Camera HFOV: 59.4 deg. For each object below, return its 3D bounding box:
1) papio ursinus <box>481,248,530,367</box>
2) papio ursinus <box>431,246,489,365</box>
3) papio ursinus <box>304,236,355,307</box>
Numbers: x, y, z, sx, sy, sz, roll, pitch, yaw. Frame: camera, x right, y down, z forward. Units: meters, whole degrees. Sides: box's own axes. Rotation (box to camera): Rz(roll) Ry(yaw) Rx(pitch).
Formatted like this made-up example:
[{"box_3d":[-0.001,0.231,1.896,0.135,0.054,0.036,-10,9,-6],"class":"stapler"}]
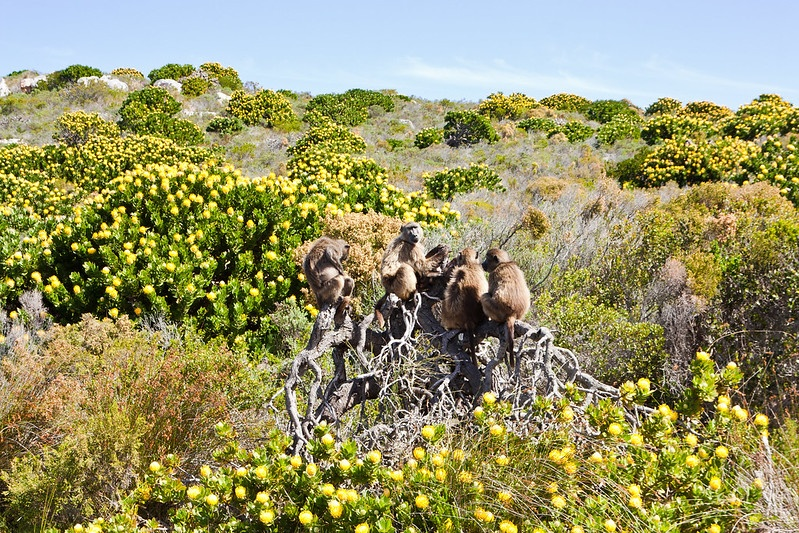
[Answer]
[{"box_3d":[1.078,0.498,7.176,0.405,1.341,0.417,-1,-9,-1],"class":"papio ursinus"},{"box_3d":[0.667,0.406,7.329,0.366,1.390,0.465,-1,-7,7],"class":"papio ursinus"},{"box_3d":[-0.741,0.093,7.458,0.460,0.818,0.492,-15,-6,13],"class":"papio ursinus"}]
